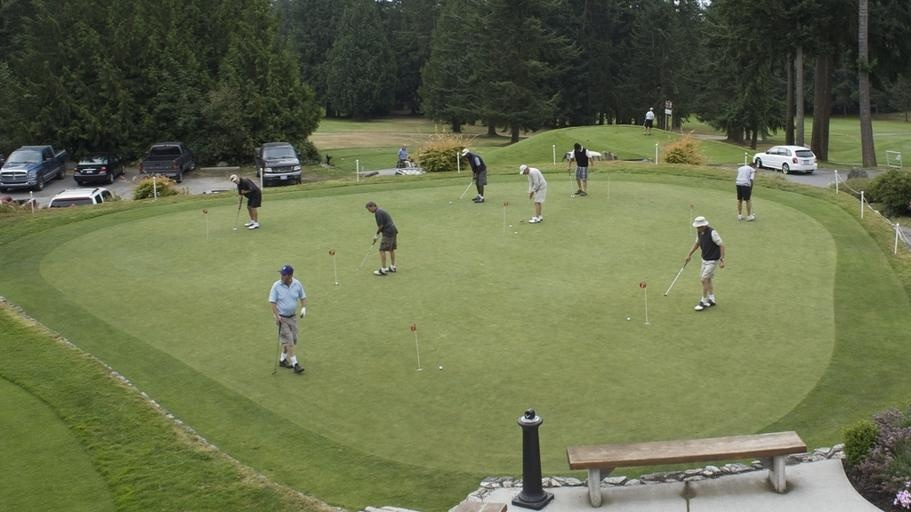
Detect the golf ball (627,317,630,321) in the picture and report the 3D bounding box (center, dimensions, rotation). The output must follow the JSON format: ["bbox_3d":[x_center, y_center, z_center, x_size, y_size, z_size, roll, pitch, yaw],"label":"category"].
[{"bbox_3d":[7.416,2.738,41.756,0.226,0.080,0.177,-1,12,10],"label":"golf ball"}]

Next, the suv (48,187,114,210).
[{"bbox_3d":[-21.754,-2.795,56.783,1.822,1.372,2.997,3,21,11],"label":"suv"}]

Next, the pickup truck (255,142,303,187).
[{"bbox_3d":[-12.720,-6.460,68.871,2.053,1.648,4.144,-4,12,-16],"label":"pickup truck"}]

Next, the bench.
[{"bbox_3d":[8.399,7.860,35.621,8.145,2.127,0.857,-3,12,-1],"label":"bench"}]

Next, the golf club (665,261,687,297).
[{"bbox_3d":[9.964,1.138,44.117,0.200,1.841,0.255,40,-3,-14],"label":"golf club"}]

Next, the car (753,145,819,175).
[{"bbox_3d":[23.521,-6.847,69.429,1.510,1.901,4.251,-9,13,-24],"label":"car"}]

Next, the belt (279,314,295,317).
[{"bbox_3d":[-6.891,2.487,39.677,0.586,0.163,0.038,-7,12,-16],"label":"belt"}]

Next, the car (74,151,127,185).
[{"bbox_3d":[-25.860,-6.268,70.695,1.984,2.047,3.922,-2,12,7],"label":"car"}]

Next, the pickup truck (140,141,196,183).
[{"bbox_3d":[-21.477,-6.768,72.188,2.845,1.837,5.126,1,19,-4],"label":"pickup truck"}]
